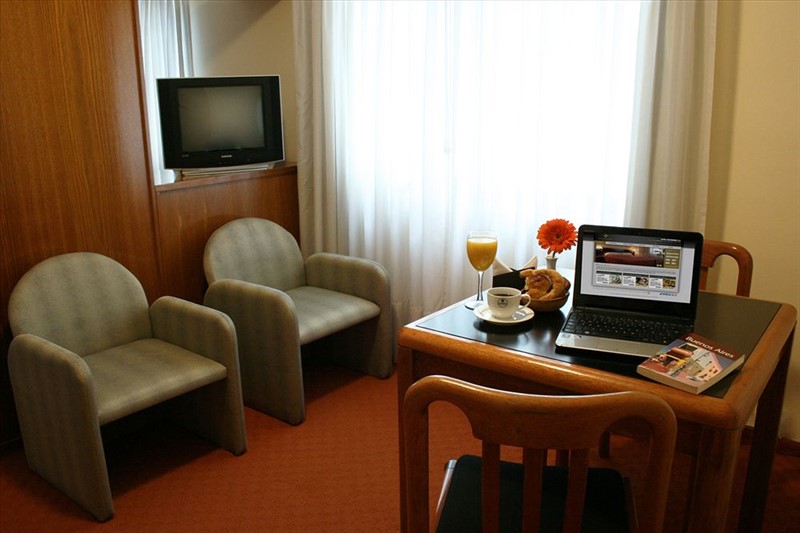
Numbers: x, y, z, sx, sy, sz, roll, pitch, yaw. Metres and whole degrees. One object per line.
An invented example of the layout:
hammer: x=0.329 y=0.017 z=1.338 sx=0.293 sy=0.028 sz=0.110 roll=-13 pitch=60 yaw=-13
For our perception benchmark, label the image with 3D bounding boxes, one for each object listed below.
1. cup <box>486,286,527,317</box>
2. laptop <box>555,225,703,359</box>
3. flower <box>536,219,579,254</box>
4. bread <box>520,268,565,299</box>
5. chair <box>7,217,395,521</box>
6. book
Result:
cup: x=0.400 y=0.129 z=2.254 sx=0.131 sy=0.080 sz=0.096 roll=4 pitch=10 yaw=6
laptop: x=0.823 y=0.073 z=2.133 sx=0.474 sy=0.330 sz=0.523 roll=1 pitch=20 yaw=19
flower: x=0.673 y=-0.129 z=2.547 sx=0.158 sy=0.160 sz=0.071 roll=3 pitch=-24 yaw=15
bread: x=0.562 y=0.068 z=2.367 sx=0.110 sy=0.044 sz=0.132 roll=-24 pitch=32 yaw=-36
chair: x=-1.046 y=0.401 z=3.238 sx=1.797 sy=1.029 sz=0.789 roll=-17 pitch=25 yaw=-38
book: x=0.963 y=0.318 z=1.981 sx=0.293 sy=0.037 sz=0.212 roll=-23 pitch=25 yaw=-32
